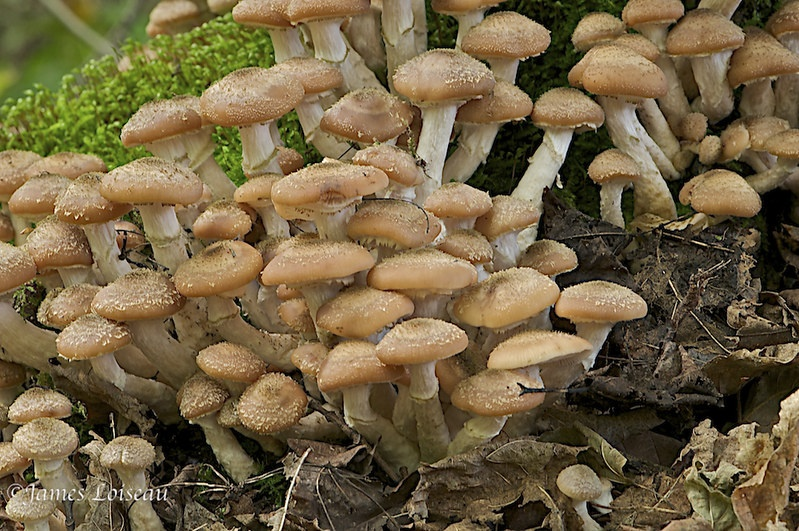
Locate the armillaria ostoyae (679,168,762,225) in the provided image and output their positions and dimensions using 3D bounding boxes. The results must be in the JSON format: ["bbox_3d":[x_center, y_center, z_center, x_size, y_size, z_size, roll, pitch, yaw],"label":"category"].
[{"bbox_3d":[2.557,-0.566,6.378,0.638,0.382,0.638,5,28,19],"label":"armillaria ostoyae"}]

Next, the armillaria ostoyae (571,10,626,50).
[{"bbox_3d":[1.668,-1.924,6.622,0.351,0.281,0.339,-8,21,34],"label":"armillaria ostoyae"}]

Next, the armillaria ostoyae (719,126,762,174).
[{"bbox_3d":[2.787,-0.961,6.517,0.295,0.324,0.283,-46,41,4],"label":"armillaria ostoyae"}]
